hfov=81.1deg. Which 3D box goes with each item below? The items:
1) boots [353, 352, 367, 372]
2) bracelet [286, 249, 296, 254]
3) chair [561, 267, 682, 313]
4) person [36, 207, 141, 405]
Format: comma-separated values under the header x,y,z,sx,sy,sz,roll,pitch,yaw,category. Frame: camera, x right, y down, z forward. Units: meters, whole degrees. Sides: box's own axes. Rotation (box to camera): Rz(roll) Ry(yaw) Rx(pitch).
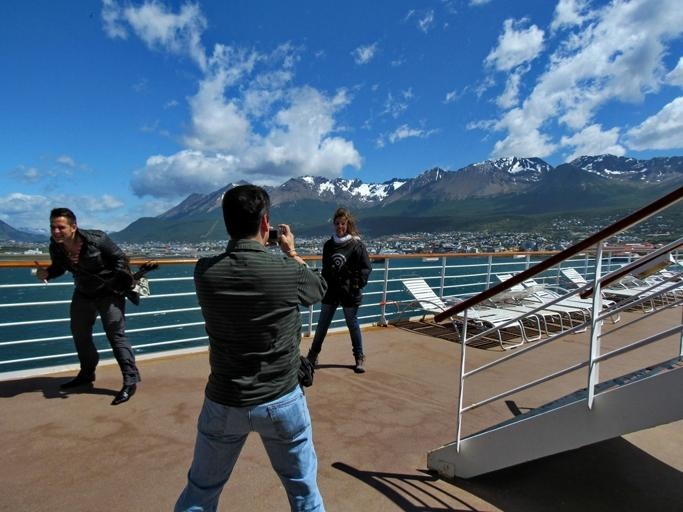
x,y,z,sx,sy,sz,roll,pitch,yaw,category
0.194,1.203,4.482,0.134,0.161,0.385,-1,-14,0,boots
-0.273,-0.025,2.161,0.040,0.015,0.030,10,4,39,bracelet
3.601,0.465,5.121,1.333,0.465,0.692,-18,13,-20,chair
-2.284,0.437,3.592,0.732,1.722,0.541,0,4,22,person
